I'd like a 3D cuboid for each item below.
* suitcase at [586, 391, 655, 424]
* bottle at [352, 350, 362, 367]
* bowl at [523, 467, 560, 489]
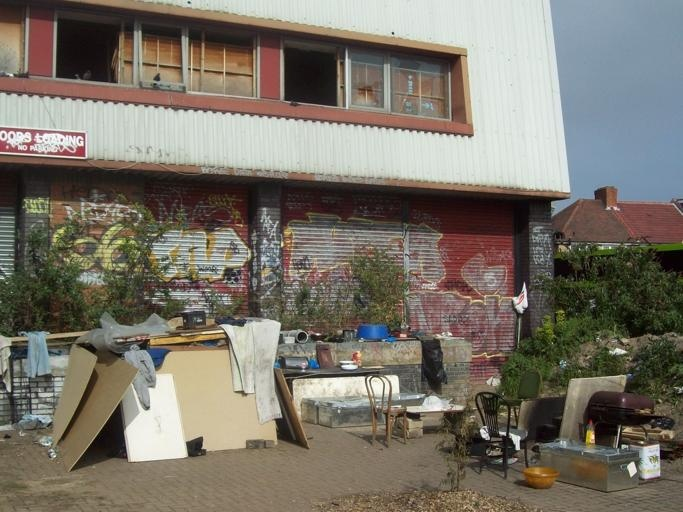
[{"bbox_3d":[4.709,2.518,14.451,0.597,0.449,0.796,2,-2,-21],"label":"suitcase"},{"bbox_3d":[0.352,2.228,18.612,0.175,0.278,0.260,2,-4,-12],"label":"bottle"},{"bbox_3d":[3.201,3.573,13.732,0.549,0.306,0.369,2,10,6],"label":"bowl"}]
